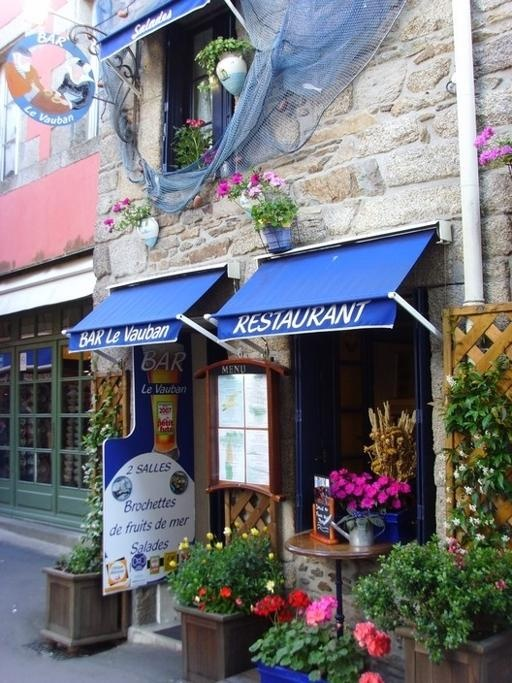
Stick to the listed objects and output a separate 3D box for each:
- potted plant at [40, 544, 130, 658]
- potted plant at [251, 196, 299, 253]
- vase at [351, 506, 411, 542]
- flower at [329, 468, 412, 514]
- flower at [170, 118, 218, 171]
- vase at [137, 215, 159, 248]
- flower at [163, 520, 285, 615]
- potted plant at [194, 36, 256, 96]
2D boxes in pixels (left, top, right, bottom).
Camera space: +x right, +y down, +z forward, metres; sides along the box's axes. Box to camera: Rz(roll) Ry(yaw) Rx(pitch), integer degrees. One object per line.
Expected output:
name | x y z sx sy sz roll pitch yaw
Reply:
potted plant | -1.300 2.034 6.288 0.650 0.686 0.636 3 -5 -32
potted plant | 0.129 -0.780 5.387 0.335 0.321 0.282 -14 4 4
vase | 0.799 1.079 4.796 0.226 0.156 0.223 3 -5 -45
flower | 0.633 0.926 5.004 0.433 0.202 0.356 1 3 39
flower | -0.513 -1.700 6.666 0.291 0.442 0.454 2 -11 -24
vase | -0.897 -0.924 6.619 0.121 0.260 0.218 7 -13 -41
flower | -0.177 1.505 5.301 0.725 0.476 0.678 -9 -13 42
potted plant | -0.209 -2.150 6.244 0.587 0.475 0.559 -2 0 4
